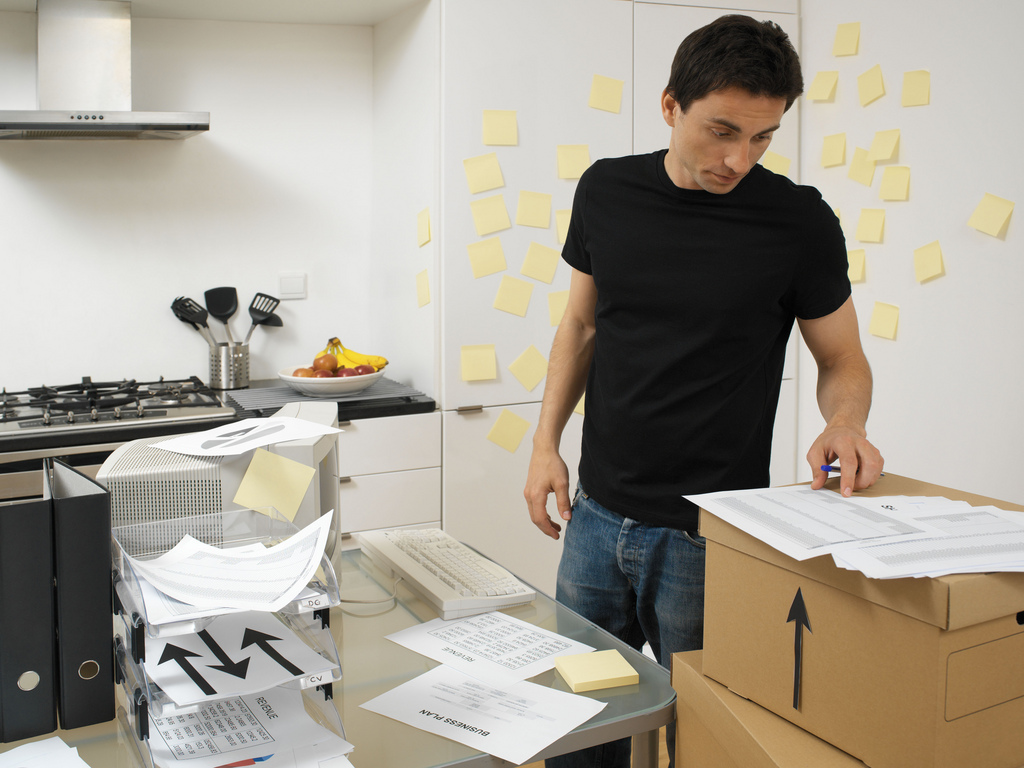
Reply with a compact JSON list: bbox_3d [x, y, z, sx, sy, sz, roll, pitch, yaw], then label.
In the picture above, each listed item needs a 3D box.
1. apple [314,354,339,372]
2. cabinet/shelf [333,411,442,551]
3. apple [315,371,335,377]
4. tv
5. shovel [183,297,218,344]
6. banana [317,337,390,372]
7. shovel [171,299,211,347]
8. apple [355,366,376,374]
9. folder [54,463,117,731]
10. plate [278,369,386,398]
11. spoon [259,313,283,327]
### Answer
[{"bbox_3d":[-0.654,-0.075,2.832,0.062,0.064,0.063,-16,9,-17],"label":"apple"},{"bbox_3d":[-0.405,0.271,2.709,0.446,0.451,0.342,-2,3,-20],"label":"cabinet/shelf"},{"bbox_3d":[-0.639,-0.037,2.760,0.030,0.017,0.031,0,3,24],"label":"apple"},{"bbox_3d":[-0.474,0.170,1.386,0.325,0.343,0.240,1,3,-5],"label":"tv"},{"bbox_3d":[-1.129,-0.226,2.954,0.061,0.216,0.031,-38,36,-15],"label":"shovel"},{"bbox_3d":[-0.593,-0.111,2.984,0.170,0.101,0.052,23,-14,14],"label":"banana"},{"bbox_3d":[-1.168,-0.233,2.971,0.098,0.045,0.328,-25,-8,-17],"label":"shovel"},{"bbox_3d":[-0.505,-0.050,2.759,0.038,0.022,0.032,-4,7,-40],"label":"apple"},{"bbox_3d":[-0.578,0.307,1.089,0.080,0.320,0.054,-5,16,-28],"label":"folder"},{"bbox_3d":[-0.632,-0.002,2.769,0.348,0.092,0.189,2,14,-1],"label":"plate"},{"bbox_3d":[-0.906,-0.240,3.031,0.085,0.059,0.073,-2,15,-18],"label":"spoon"}]
